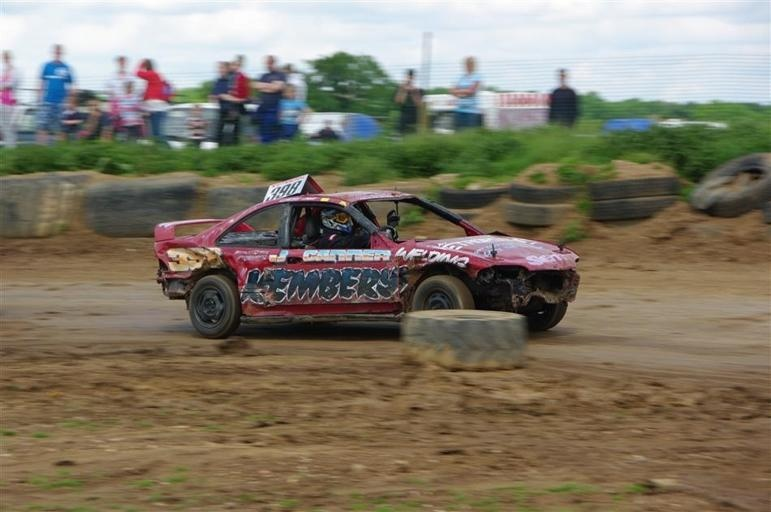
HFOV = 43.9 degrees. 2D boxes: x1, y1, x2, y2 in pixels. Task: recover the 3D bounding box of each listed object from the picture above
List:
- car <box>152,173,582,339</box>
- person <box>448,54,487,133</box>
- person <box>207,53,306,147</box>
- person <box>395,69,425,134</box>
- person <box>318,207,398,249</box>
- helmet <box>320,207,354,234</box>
[{"bbox_3d":[-0.358,0.095,11.490,4.995,1.796,1.203,2,17,15],"label":"car"},{"bbox_3d":[1.512,-3.040,17.968,0.645,1.340,0.277,0,20,11],"label":"person"},{"bbox_3d":[-2.578,-2.895,17.940,1.547,1.642,0.475,5,21,25],"label":"person"},{"bbox_3d":[0.467,-2.973,18.378,0.520,1.192,0.495,-3,18,0],"label":"person"},{"bbox_3d":[-0.459,-0.329,11.683,1.113,0.259,0.501,-2,9,6],"label":"person"},{"bbox_3d":[-0.593,-0.446,11.785,0.550,0.260,0.316,-9,6,13],"label":"helmet"}]
